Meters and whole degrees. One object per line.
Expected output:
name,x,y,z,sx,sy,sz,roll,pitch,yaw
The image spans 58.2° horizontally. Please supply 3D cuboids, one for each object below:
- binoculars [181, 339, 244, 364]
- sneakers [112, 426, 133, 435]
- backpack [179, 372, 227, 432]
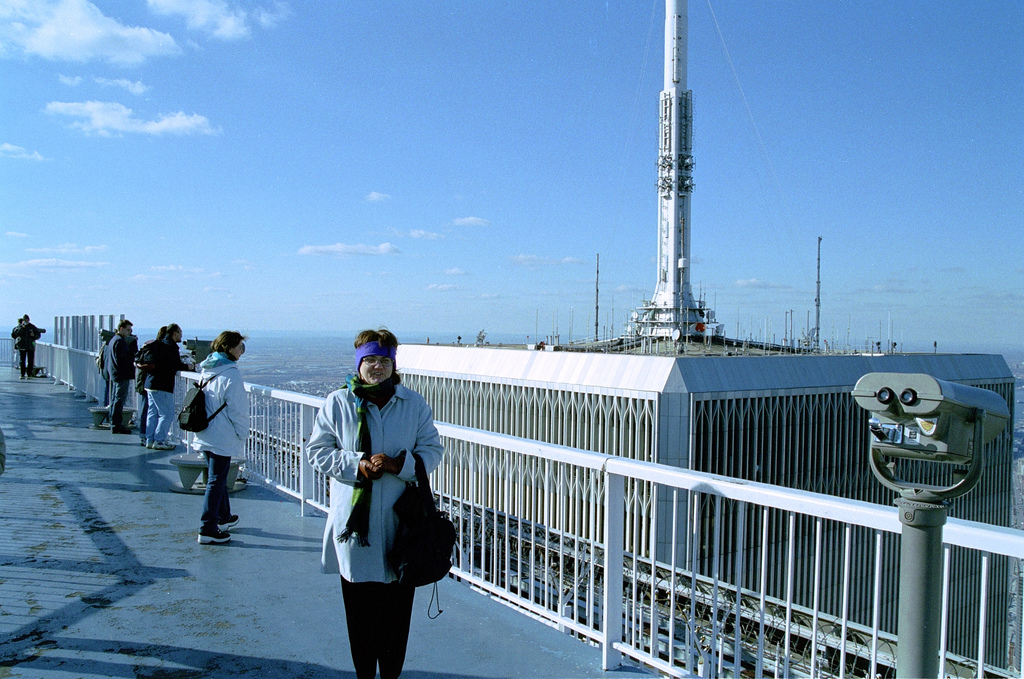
binoculars,-4.415,0.169,13.498,0.509,0.379,0.319,0,-3,-7
sneakers,-8.171,1.916,19.232,0.414,0.174,0.151,1,-2,-6
backpack,-3.855,0.838,11.506,0.593,0.562,0.387,-6,6,-26
